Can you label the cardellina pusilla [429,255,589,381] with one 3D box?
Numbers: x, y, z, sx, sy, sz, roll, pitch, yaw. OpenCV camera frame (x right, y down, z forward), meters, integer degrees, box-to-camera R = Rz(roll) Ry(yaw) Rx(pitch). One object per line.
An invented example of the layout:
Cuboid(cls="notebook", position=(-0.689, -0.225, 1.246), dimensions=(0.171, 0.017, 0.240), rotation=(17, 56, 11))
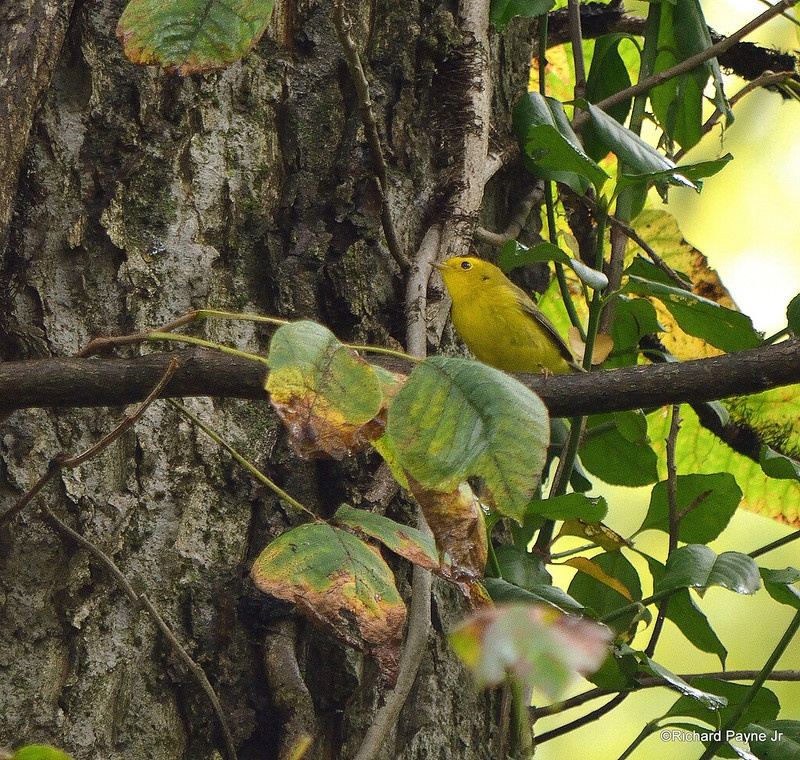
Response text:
Cuboid(cls="cardellina pusilla", position=(0.252, -0.173, 4.896), dimensions=(0.184, 0.264, 0.569), rotation=(-16, -20, 37))
